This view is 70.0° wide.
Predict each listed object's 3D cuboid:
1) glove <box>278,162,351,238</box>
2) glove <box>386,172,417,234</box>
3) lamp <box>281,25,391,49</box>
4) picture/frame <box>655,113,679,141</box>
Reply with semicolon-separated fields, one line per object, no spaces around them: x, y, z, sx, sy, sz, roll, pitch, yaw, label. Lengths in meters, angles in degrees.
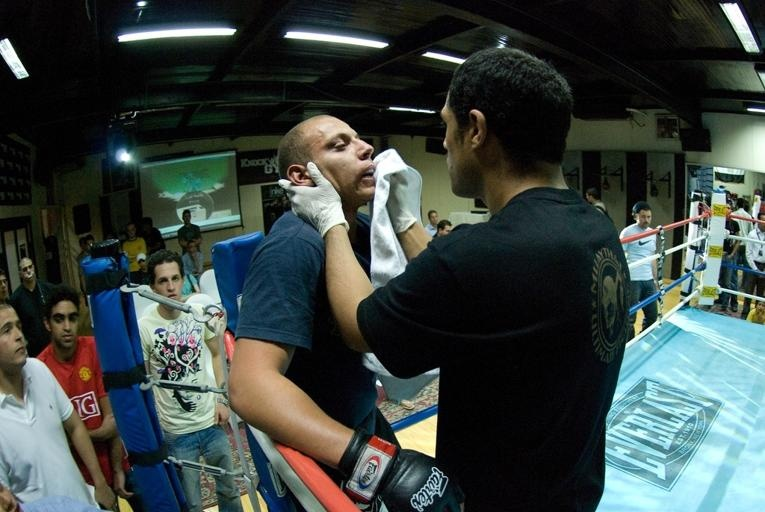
-0.332;-0.276;2.746;0.254;0.404;0.110;-32;-18;-21;glove
0.128;-0.298;3.018;0.241;0.301;0.090;-11;11;-41;glove
-0.640;-2.886;7.461;1.372;0.213;0.104;0;42;-14;lamp
6.237;-2.849;11.976;0.041;0.541;0.567;-17;17;-30;picture/frame
